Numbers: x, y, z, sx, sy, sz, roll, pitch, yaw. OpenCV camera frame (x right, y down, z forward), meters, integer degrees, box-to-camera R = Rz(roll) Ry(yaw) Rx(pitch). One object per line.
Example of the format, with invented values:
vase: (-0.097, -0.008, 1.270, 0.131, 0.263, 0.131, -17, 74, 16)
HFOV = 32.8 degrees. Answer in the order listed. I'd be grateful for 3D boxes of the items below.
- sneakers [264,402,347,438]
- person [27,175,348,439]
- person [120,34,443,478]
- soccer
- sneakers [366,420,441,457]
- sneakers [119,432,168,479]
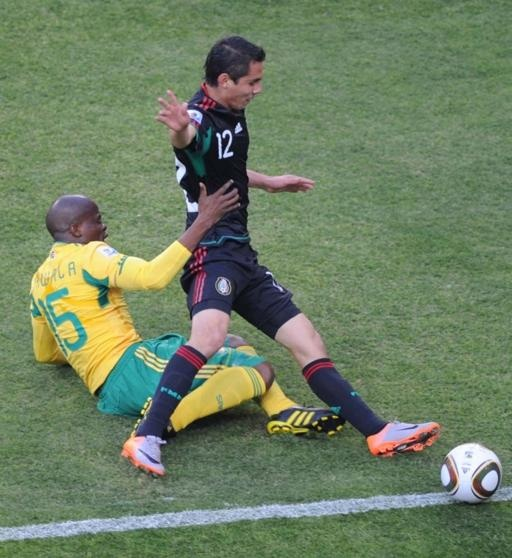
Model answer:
sneakers: (0.215, 0.638, 3.883, 0.444, 0.141, 0.124, -8, -12, 9)
person: (-0.228, 0.192, 4.085, 1.935, 1.007, 0.748, 0, -13, 19)
person: (0.039, -0.140, 3.877, 1.341, 1.757, 1.448, 0, 28, -16)
soccer: (0.839, 0.764, 3.503, 0.319, 0.217, 0.254, -3, 6, 9)
sneakers: (0.627, 0.682, 3.787, 0.370, 0.131, 0.125, -16, -7, -1)
sneakers: (-0.471, 0.729, 3.609, 0.173, 0.143, 0.150, 3, 26, -9)
